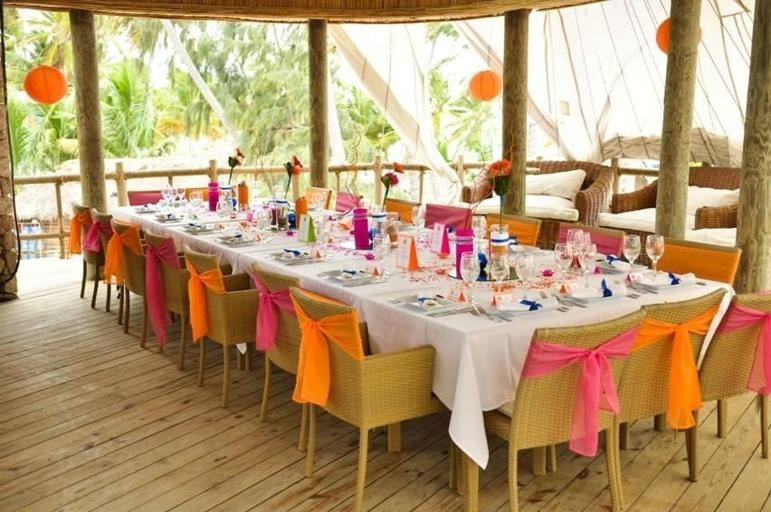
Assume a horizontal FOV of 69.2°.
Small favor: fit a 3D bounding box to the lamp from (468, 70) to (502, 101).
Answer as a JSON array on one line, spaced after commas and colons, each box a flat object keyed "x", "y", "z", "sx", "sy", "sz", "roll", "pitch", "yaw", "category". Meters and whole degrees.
[{"x": 1.475, "y": -2.572, "z": 8.351, "sx": 0.469, "sy": 0.512, "sz": 0.457, "roll": -23, "pitch": 32, "yaw": -29, "category": "lamp"}]
